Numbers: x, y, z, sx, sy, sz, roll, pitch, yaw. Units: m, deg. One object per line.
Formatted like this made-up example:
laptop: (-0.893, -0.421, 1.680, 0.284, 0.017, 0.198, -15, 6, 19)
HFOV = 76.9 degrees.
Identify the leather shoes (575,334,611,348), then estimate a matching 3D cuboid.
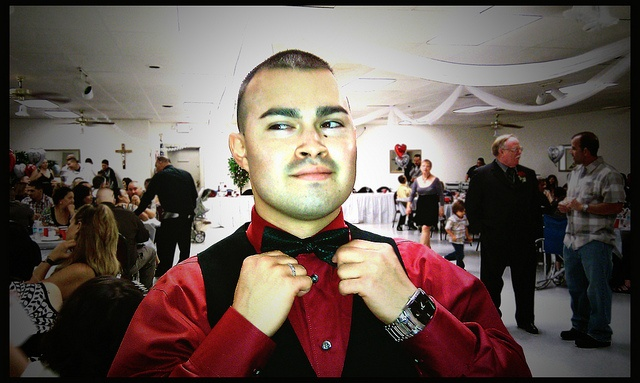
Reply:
leather shoes: (2.713, 1.500, 4.057, 0.358, 0.134, 0.121, 3, 3, -1)

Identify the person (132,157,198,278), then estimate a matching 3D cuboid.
person: (-1.888, 0.352, 4.959, 0.778, 1.509, 0.627, -3, 9, -41)

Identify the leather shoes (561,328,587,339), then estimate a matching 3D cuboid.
leather shoes: (2.545, 1.430, 4.064, 0.238, 0.079, 0.099, -8, -25, 27)

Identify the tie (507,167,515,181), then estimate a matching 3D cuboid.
tie: (1.977, -0.183, 4.229, 0.094, 0.115, 0.029, -2, -2, 24)

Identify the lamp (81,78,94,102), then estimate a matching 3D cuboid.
lamp: (-2.302, -0.996, 4.013, 0.108, 0.175, 0.177, -5, -25, -26)

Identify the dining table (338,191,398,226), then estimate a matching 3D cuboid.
dining table: (1.059, 0.305, 8.515, 0.996, 0.538, 1.035, -7, 10, -39)

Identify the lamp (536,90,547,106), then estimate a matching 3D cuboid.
lamp: (2.287, -0.965, 4.160, 0.174, 0.152, 0.072, 1, 0, -19)

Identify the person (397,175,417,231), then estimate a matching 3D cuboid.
person: (1.440, 0.203, 6.849, 0.350, 0.944, 0.285, 6, 24, 19)

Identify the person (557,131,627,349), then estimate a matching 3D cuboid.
person: (2.709, 0.469, 4.094, 0.521, 2.245, 0.379, 1, 0, 34)

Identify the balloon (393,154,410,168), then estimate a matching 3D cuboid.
balloon: (1.031, -0.386, 5.107, 0.183, 0.166, 0.061, 6, 40, -2)

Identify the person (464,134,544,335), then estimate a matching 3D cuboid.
person: (1.935, 0.422, 4.281, 0.886, 1.974, 0.693, 2, -4, 18)

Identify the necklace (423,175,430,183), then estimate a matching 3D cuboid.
necklace: (1.427, -0.179, 5.469, 0.109, 0.090, 0.025, 0, 10, 15)

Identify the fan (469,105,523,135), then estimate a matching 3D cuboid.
fan: (1.824, -0.755, 4.272, 0.297, 0.189, 0.326, 3, 10, 43)

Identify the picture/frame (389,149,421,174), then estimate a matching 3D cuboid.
picture/frame: (1.036, -0.388, 5.035, 0.313, 0.195, 0.010, -1, -1, -6)

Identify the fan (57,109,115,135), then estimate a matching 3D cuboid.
fan: (-2.427, -0.722, 4.222, 0.474, 0.227, 0.194, 1, 0, -25)
